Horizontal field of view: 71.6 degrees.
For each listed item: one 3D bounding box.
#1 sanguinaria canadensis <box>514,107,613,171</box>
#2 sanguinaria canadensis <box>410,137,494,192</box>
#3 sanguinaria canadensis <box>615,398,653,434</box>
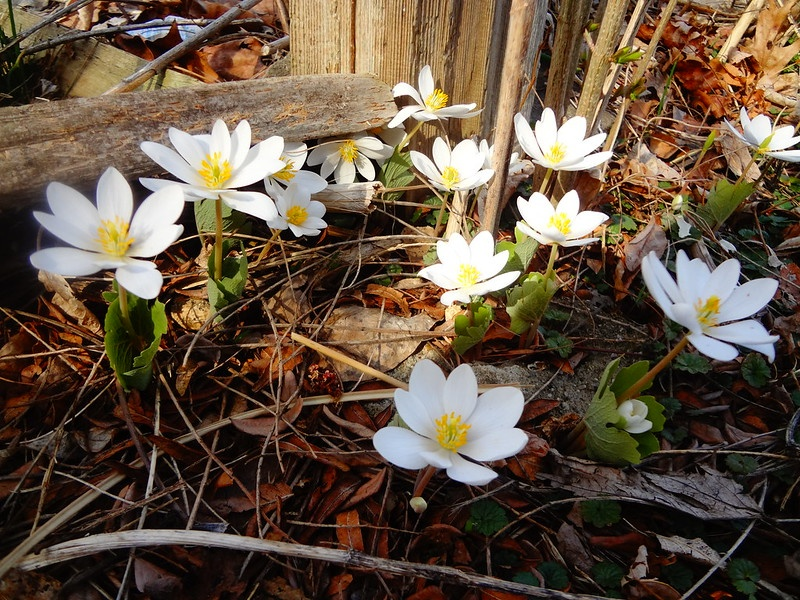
[{"bbox_3d":[0.527,-0.539,1.861,0.315,0.209,0.235,12,43,7],"label":"sanguinaria canadensis"},{"bbox_3d":[0.184,-0.466,1.937,0.284,0.165,0.216,11,43,6],"label":"sanguinaria canadensis"},{"bbox_3d":[0.636,0.323,1.532,0.101,0.093,0.077,0,44,-6],"label":"sanguinaria canadensis"}]
